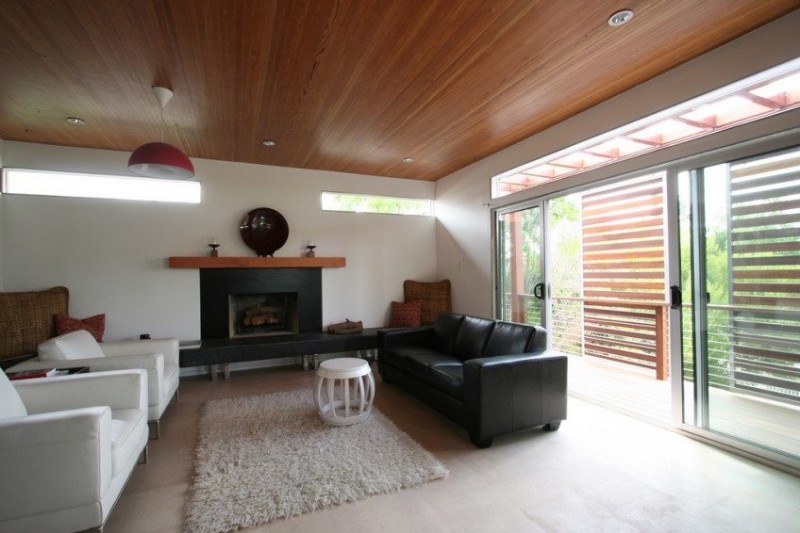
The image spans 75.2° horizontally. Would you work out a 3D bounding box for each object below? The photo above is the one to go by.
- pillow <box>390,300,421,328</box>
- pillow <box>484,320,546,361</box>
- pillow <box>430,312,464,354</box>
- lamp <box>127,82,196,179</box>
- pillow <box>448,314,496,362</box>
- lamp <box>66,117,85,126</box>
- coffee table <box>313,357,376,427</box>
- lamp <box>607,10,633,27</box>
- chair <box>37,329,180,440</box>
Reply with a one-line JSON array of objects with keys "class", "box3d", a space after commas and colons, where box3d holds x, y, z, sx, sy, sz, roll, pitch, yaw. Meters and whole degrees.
[{"class": "pillow", "box3d": [0.089, 0.723, 7.825, 0.405, 0.380, 0.143, -1, -16, 14]}, {"class": "pillow", "box3d": [1.242, 0.892, 5.637, 0.332, 0.489, 0.589, 22, -7, -34]}, {"class": "pillow", "box3d": [0.570, 0.818, 6.506, 0.198, 0.467, 0.530, -22, 20, -36]}, {"class": "lamp", "box3d": [-2.462, -1.370, 5.456, 0.567, 0.960, 1.015, 1, -1, -18]}, {"class": "pillow", "box3d": [0.824, 0.826, 5.983, 0.215, 0.436, 0.486, 12, -1, -13]}, {"class": "lamp", "box3d": [-3.651, -1.646, 5.837, 0.074, 0.030, 0.104, -1, -3, 30]}, {"class": "coffee table", "box3d": [-0.588, 1.325, 5.532, 0.671, 0.559, 0.655, -1, 1, 29]}, {"class": "lamp", "box3d": [1.881, -2.143, 4.452, 0.211, 0.113, 0.146, 0, -1, 20]}, {"class": "chair", "box3d": [-2.959, 1.163, 5.354, 1.174, 0.939, 1.177, -3, 6, -16]}]
